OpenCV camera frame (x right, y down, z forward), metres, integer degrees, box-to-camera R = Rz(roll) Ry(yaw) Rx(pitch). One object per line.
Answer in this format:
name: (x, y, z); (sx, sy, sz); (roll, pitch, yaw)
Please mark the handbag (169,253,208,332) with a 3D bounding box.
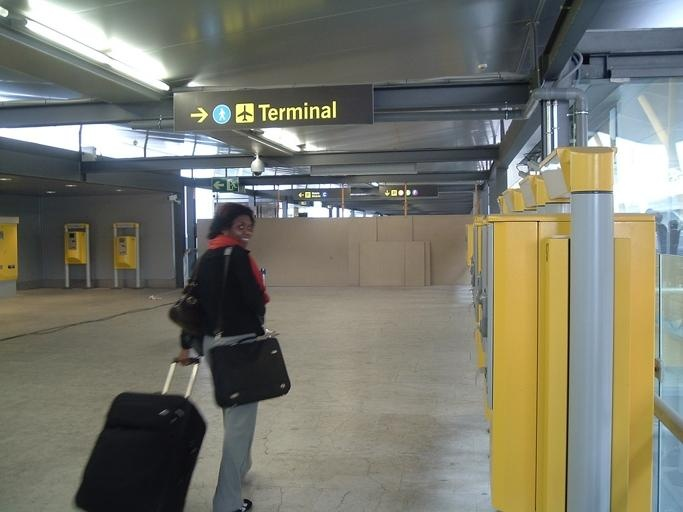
handbag: (-0.997, 0.260, 3.394); (0.227, 0.501, 0.252); (-2, 3, -18)
